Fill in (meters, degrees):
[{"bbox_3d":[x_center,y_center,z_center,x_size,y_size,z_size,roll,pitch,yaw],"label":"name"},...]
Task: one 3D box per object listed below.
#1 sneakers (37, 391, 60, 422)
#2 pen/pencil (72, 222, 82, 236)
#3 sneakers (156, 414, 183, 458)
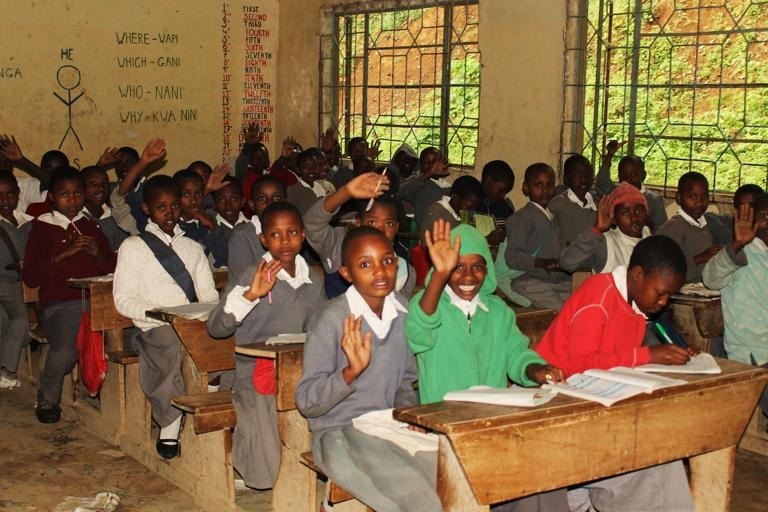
[{"bbox_3d":[-2.231,1.000,4.682,0.123,0.209,0.099,-15,19,-18],"label":"sneakers"},{"bbox_3d":[-2.157,-0.188,4.946,0.018,0.103,0.011,-29,2,0],"label":"pen/pencil"},{"bbox_3d":[-1.244,1.050,4.097,0.158,0.258,0.147,-1,11,-19],"label":"sneakers"}]
